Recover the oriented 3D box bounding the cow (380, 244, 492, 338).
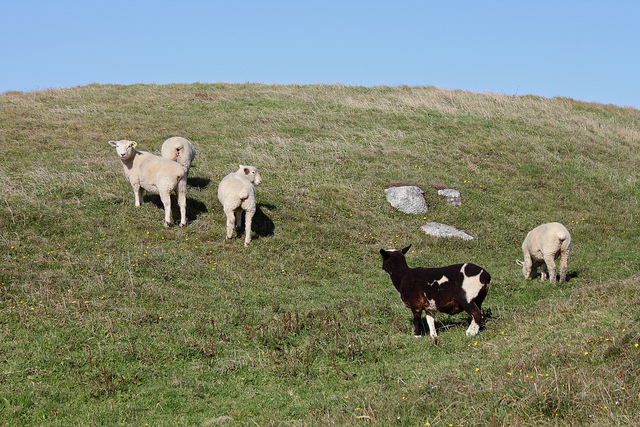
[{"bbox_3d":[4.372,3.112,32.731,4.854,3.641,1.631,-2,-5,35],"label":"cow"}]

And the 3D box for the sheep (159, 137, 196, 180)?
[{"bbox_3d":[-7.241,-2.847,42.671,1.827,2.528,4.295,3,5,-11],"label":"sheep"}]

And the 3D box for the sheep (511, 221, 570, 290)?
[{"bbox_3d":[9.922,1.652,36.595,1.839,3.073,2.957,-2,14,3],"label":"sheep"}]

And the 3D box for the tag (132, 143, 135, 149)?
[{"bbox_3d":[-8.438,-3.087,37.830,0.066,0.237,0.235,-3,-2,-7],"label":"tag"}]

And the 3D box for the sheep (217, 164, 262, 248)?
[{"bbox_3d":[-3.720,-0.518,39.254,1.901,3.400,5.616,-1,8,-4],"label":"sheep"}]
